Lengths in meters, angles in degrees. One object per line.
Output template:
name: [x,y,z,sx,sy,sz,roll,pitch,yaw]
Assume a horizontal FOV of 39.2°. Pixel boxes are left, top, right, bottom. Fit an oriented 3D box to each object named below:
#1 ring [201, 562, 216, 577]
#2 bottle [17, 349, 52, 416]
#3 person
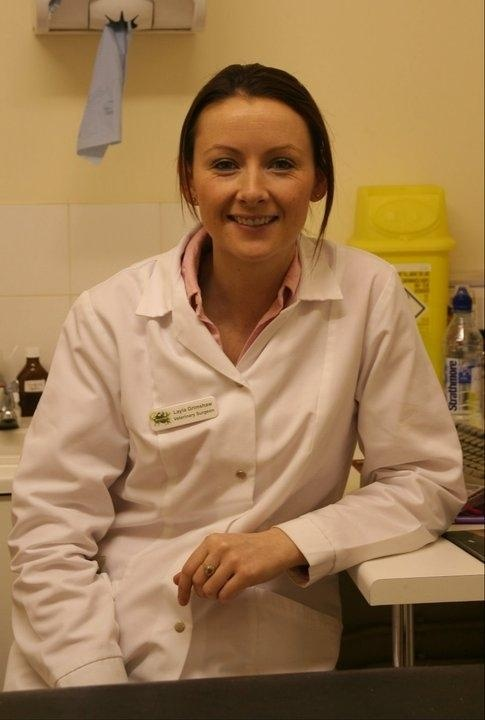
ring: [-0.045,0.274,0.882,0.015,0.018,0.007,5,1,31]
bottle: [-0.560,0.079,1.838,0.100,0.201,0.048,-3,16,-15]
person: [-0.005,0.109,1.025,0.606,0.788,0.392,4,1,-28]
